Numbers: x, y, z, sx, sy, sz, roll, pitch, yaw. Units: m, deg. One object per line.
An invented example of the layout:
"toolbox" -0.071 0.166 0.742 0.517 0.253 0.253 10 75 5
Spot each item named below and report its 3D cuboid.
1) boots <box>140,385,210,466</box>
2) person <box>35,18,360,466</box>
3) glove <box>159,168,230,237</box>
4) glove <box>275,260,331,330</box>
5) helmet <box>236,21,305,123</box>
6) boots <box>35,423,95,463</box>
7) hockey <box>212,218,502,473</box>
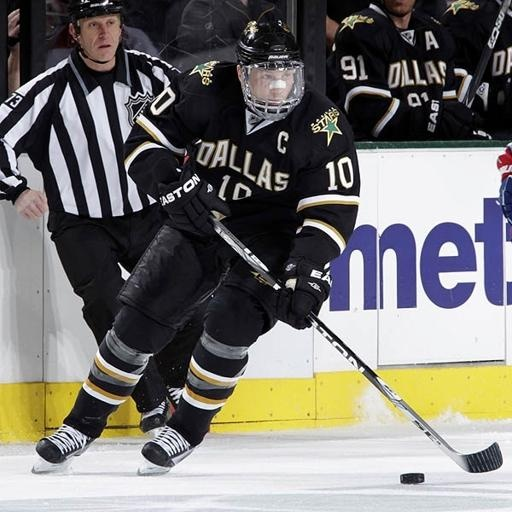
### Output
"boots" -0.250 0.519 2.552 0.096 0.290 0.122 41 -15 -1
"person" -0.056 0.010 2.423 0.783 1.348 0.687 11 -7 32
"glove" -0.177 -0.142 2.332 0.196 0.168 0.072 56 30 -20
"glove" 0.123 0.098 2.287 0.136 0.191 0.081 32 -24 -5
"helmet" 0.039 -0.548 2.366 0.189 0.252 0.267 -3 32 -10
"boots" -0.567 0.547 2.487 0.068 0.078 0.188 37 7 6
"hockey" 0.325 0.324 2.943 1.061 0.129 0.156 40 49 7
